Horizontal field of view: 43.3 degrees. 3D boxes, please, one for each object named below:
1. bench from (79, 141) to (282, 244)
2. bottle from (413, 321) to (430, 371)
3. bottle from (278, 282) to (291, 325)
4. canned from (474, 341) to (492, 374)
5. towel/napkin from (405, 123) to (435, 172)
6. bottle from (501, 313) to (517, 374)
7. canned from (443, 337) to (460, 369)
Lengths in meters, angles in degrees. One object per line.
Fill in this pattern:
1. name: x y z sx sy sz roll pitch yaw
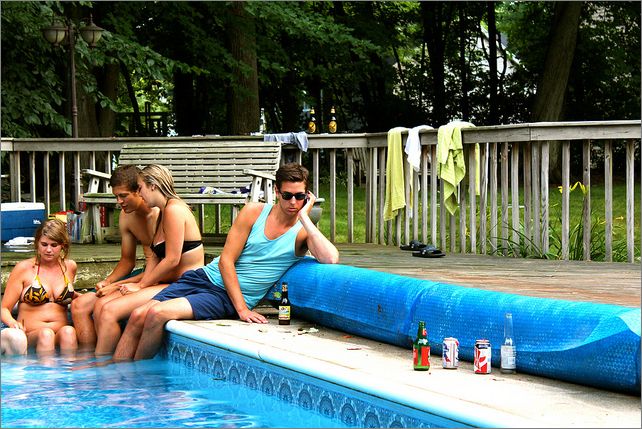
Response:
1. bench: -1.605 -0.289 9.685 2.215 1.240 0.947 -4 0 14
2. bottle: 0.722 0.928 5.823 0.119 0.309 0.333 2 2 7
3. bottle: -0.302 0.732 6.745 0.100 0.324 0.302 2 2 -3
4. canned: 1.125 0.986 5.672 0.118 0.225 0.122 3 2 11
5. towel/napkin: 1.071 -0.725 9.003 0.282 0.519 0.368 2 2 6
6. bottle: 1.311 0.900 5.685 0.108 0.407 0.090 2 2 4
7. canned: 0.913 0.972 5.733 0.111 0.215 0.112 2 2 6
